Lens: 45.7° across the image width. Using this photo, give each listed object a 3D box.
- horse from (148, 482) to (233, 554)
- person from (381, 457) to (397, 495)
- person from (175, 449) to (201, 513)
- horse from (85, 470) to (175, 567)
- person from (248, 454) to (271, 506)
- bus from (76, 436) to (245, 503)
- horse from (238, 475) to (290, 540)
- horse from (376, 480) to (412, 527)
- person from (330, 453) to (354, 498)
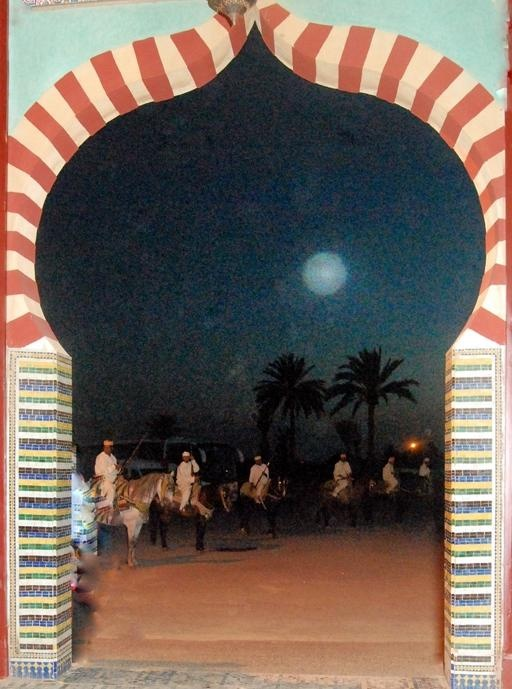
[{"bbox_3d":[-0.907,2.384,8.523,1.415,0.935,0.345,-8,-10,24],"label":"horse"},{"bbox_3d":[2.482,2.434,11.191,0.295,0.671,0.729,-2,-13,12],"label":"person"},{"bbox_3d":[-0.946,1.864,8.239,0.292,0.778,0.389,3,-13,-7],"label":"person"},{"bbox_3d":[-1.327,2.117,7.337,0.865,1.080,1.545,-4,-13,19],"label":"horse"},{"bbox_3d":[0.043,2.128,9.501,0.318,0.763,0.833,1,-12,0],"label":"person"},{"bbox_3d":[-1.653,2.402,12.175,3.839,1.142,1.197,-2,1,1],"label":"bus"},{"bbox_3d":[-0.003,2.475,9.616,0.953,0.701,0.257,8,-5,-9],"label":"horse"},{"bbox_3d":[2.580,2.976,11.335,0.683,0.766,0.398,1,-13,-1],"label":"horse"},{"bbox_3d":[1.450,2.247,10.357,0.334,0.741,0.402,-1,-13,6],"label":"person"}]
